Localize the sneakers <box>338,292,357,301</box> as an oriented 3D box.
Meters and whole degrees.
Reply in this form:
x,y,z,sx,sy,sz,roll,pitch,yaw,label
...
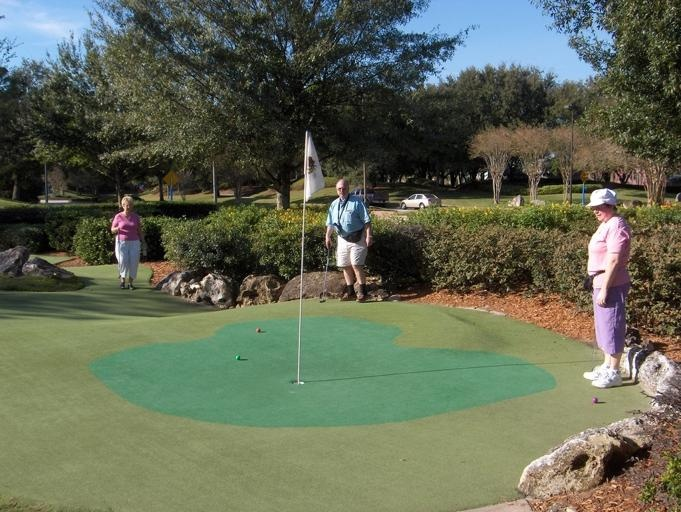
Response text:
x,y,z,sx,sy,sz,roll,pitch,yaw,label
0.168,0.775,12.035,0.272,0.118,0.140,2,5,-11,sneakers

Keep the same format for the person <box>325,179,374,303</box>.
x,y,z,sx,sy,sz,roll,pitch,yaw,label
0.177,-0.290,11.735,0.835,2.250,0.673,1,12,5,person

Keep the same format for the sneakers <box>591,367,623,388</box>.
x,y,z,sx,sy,sz,roll,pitch,yaw,label
3.394,1.567,8.119,0.451,0.208,0.168,-2,12,-9,sneakers

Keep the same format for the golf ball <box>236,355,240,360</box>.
x,y,z,sx,sy,sz,roll,pitch,yaw,label
-1.407,1.407,8.712,0.049,0.051,0.048,2,-4,0,golf ball

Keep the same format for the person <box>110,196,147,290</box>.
x,y,z,sx,sy,sz,roll,pitch,yaw,label
-4.784,-0.297,14.243,0.634,2.184,0.977,-4,12,-19,person

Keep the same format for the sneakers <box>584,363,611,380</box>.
x,y,z,sx,sy,sz,roll,pitch,yaw,label
3.394,1.517,8.257,0.397,0.175,0.145,-12,6,35,sneakers

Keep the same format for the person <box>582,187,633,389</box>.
x,y,z,sx,sy,sz,roll,pitch,yaw,label
3.446,0.400,8.086,0.578,2.538,0.582,5,12,21,person

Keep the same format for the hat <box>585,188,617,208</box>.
x,y,z,sx,sy,sz,roll,pitch,yaw,label
3.320,-0.734,7.953,0.339,0.178,0.242,-1,4,1,hat

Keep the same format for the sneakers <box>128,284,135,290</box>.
x,y,z,sx,sy,sz,roll,pitch,yaw,label
-4.771,0.704,14.382,0.121,0.127,0.307,2,-2,-25,sneakers

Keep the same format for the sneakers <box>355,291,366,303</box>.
x,y,z,sx,sy,sz,roll,pitch,yaw,label
0.408,0.771,11.807,0.179,0.086,0.256,-15,-37,-3,sneakers
